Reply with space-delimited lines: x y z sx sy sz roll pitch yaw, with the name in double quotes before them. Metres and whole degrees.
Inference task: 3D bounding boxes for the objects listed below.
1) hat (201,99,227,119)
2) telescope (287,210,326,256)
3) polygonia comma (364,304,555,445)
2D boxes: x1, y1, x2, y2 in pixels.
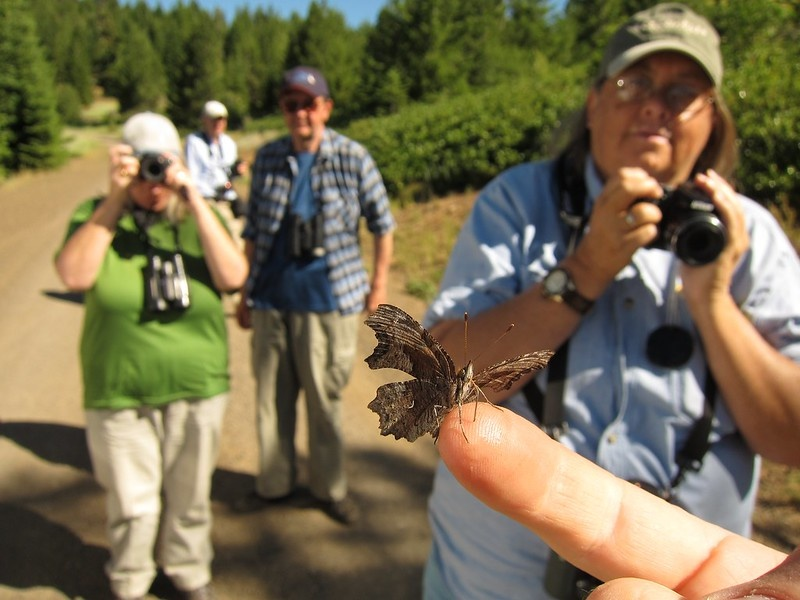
"hat" -1.872 -1.916 7.015 0.179 0.219 0.248 7 11 36
"telescope" -0.607 -0.452 4.432 0.208 0.255 0.084 -3 1 -5
"polygonia comma" 0.174 0.247 2.738 0.466 0.503 0.656 -13 25 -33
